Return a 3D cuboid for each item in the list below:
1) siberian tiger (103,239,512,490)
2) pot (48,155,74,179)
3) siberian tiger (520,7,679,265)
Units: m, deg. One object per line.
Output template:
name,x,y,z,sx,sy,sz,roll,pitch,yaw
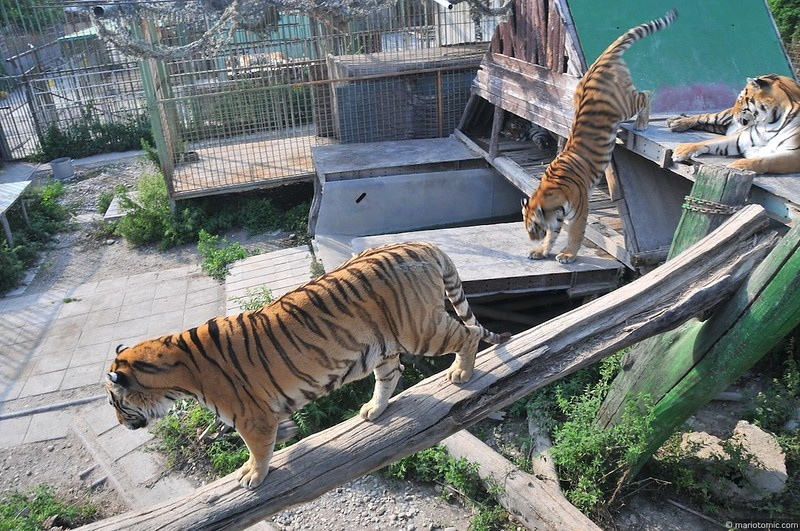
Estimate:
siberian tiger,-0.749,0.958,4.534,3.105,1.414,0.832,-27,31,1
pot,-7.878,-2.283,11.747,0.480,0.382,0.507,2,25,-1
siberian tiger,2.433,-1.533,5.898,1.046,3.246,0.731,18,6,-36
